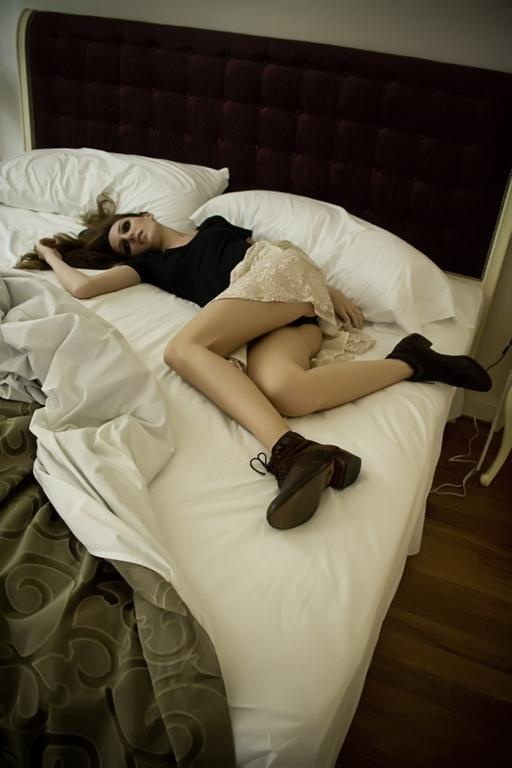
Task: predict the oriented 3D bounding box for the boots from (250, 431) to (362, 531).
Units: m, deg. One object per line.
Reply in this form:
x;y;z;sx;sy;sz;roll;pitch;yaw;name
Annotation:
0.107;0.200;1.156;0.159;0.092;0.273;20;45;35;boots

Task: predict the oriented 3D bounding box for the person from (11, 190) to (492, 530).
-0.010;-0.258;1.763;0.648;0.551;1.531;-34;24;-27;person
